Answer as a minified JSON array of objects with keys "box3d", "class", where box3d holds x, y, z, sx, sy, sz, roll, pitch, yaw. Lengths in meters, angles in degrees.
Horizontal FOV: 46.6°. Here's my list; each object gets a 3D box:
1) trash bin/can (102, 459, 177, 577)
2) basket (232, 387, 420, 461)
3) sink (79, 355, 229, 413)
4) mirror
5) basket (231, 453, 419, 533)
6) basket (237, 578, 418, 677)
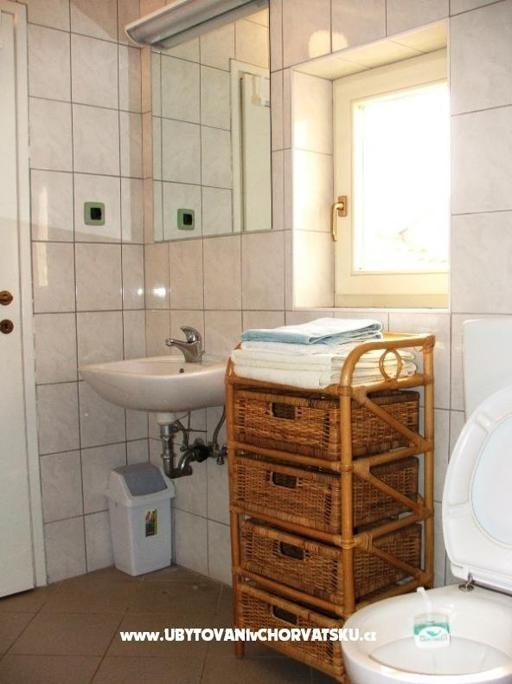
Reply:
[{"box3d":[-0.463,0.688,2.349,0.225,0.385,0.243,6,8,38],"class":"trash bin/can"},{"box3d":[0.204,0.183,1.392,0.213,0.104,0.279,-2,4,-41],"class":"basket"},{"box3d":[-0.300,0.141,1.890,0.450,0.167,0.487,-1,1,-33],"class":"sink"},{"box3d":[-0.145,-0.775,2.053,0.020,1.074,0.897,-5,8,-35],"class":"mirror"},{"box3d":[0.182,0.355,1.428,0.283,0.104,0.214,4,5,44],"class":"basket"},{"box3d":[0.111,0.667,1.500,0.236,0.136,0.287,-4,9,-42],"class":"basket"}]
